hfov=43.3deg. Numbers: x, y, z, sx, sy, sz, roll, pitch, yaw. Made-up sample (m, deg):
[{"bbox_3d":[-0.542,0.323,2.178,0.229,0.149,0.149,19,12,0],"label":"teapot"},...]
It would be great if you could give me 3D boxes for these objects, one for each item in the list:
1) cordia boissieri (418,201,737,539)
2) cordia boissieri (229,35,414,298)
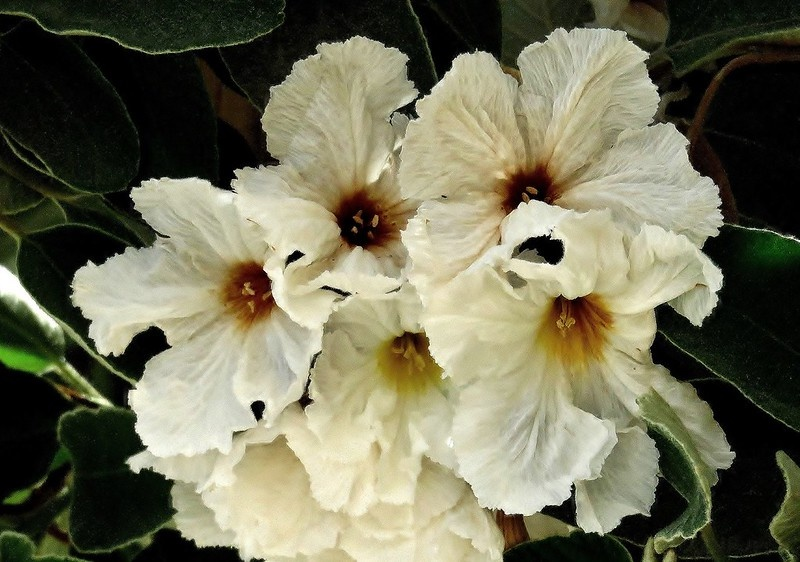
[{"bbox_3d":[0.178,0.101,1.161,0.343,0.386,0.177,-11,17,-8],"label":"cordia boissieri"},{"bbox_3d":[-0.080,-0.130,1.162,0.226,0.185,0.205,-10,50,-3],"label":"cordia boissieri"}]
